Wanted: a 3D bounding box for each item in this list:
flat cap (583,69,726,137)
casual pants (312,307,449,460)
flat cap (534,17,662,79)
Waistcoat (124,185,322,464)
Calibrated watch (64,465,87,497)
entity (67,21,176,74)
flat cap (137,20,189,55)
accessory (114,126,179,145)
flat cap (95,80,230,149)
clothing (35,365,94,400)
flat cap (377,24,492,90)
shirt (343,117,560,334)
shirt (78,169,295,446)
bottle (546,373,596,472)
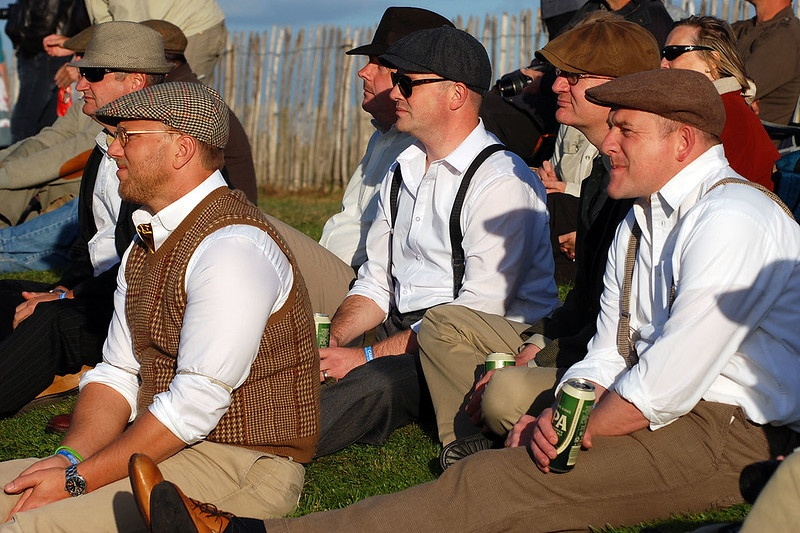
[{"bbox_3d":[1.426,-0.923,4.522,0.757,0.379,0.601,11,11,12],"label":"flat cap"},{"bbox_3d":[-0.156,0.919,5.313,0.662,0.223,0.588,-35,28,-2],"label":"casual pants"},{"bbox_3d":[1.306,-1.445,5.558,0.797,0.384,0.615,1,22,-1],"label":"flat cap"},{"bbox_3d":[-0.925,0.303,4.674,0.891,1.586,0.994,-4,3,-31],"label":"Waistcoat"},{"bbox_3d":[-1.627,1.083,4.138,0.135,0.129,0.067,15,21,37],"label":"Calibrated watch"},{"bbox_3d":[-2.123,-1.696,6.419,0.428,0.216,0.513,6,1,33],"label":"entity"},{"bbox_3d":[-2.056,-2.031,7.212,0.348,0.261,0.483,-1,5,-5],"label":"flat cap"},{"bbox_3d":[-1.384,-0.704,4.448,0.369,0.096,0.085,6,18,15],"label":"accessory"},{"bbox_3d":[-1.319,-0.836,4.634,0.685,0.381,0.558,-7,6,-31],"label":"flat cap"},{"bbox_3d":[-2.555,0.881,6.218,0.651,0.261,0.211,-17,-9,42],"label":"clothing"},{"bbox_3d":[0.289,-1.552,6.045,0.865,0.453,0.680,12,8,-18],"label":"flat cap"},{"bbox_3d":[0.305,-0.291,6.047,1.467,1.456,1.012,9,10,40],"label":"shirt"},{"bbox_3d":[-0.975,0.302,4.714,0.876,1.745,1.270,3,11,-9],"label":"shirt"},{"bbox_3d":[0.855,0.792,4.113,0.195,0.418,0.308,4,17,11],"label":"bottle"}]
